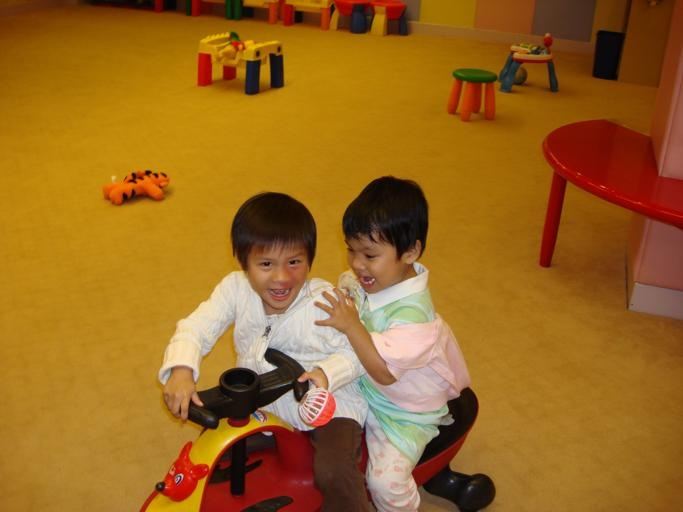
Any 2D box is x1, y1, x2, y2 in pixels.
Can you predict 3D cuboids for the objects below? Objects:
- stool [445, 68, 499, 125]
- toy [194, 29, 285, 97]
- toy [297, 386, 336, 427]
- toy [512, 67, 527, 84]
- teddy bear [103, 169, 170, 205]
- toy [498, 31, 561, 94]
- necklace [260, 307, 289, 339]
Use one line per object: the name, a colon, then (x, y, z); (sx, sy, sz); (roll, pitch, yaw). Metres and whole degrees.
stool: (0.978, -1.187, 4.035); (0.293, 0.344, 0.311); (-6, 28, -13)
toy: (-0.786, -1.555, 4.357); (0.693, 0.386, 0.525); (10, 29, 15)
toy: (-0.043, 0.279, 1.032); (0.053, 0.059, 0.075); (20, 57, -10)
toy: (1.595, -1.581, 4.846); (0.120, 0.176, 0.184); (2, 69, 12)
teddy bear: (-1.044, -0.349, 2.773); (0.203, 0.101, 0.222); (-17, 24, -17)
toy: (1.668, -1.676, 4.815); (0.583, 0.536, 0.588); (-5, 17, -31)
necklace: (-0.150, 0.143, 1.172); (0.046, 0.073, 0.037); (4, -14, 2)
